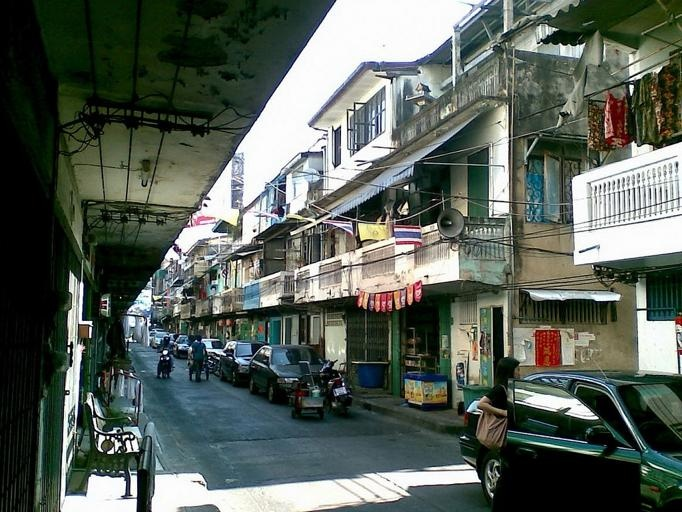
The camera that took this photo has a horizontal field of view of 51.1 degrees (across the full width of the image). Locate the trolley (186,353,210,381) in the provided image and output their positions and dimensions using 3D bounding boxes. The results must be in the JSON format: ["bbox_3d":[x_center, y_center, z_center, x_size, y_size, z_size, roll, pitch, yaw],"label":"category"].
[{"bbox_3d":[-5.439,4.281,27.682,0.704,0.945,1.485,2,-11,-17],"label":"trolley"}]

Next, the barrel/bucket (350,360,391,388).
[{"bbox_3d":[1.059,3.951,23.779,1.109,0.831,0.992,6,-20,-12],"label":"barrel/bucket"}]

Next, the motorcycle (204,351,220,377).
[{"bbox_3d":[-5.485,4.553,30.307,0.696,0.872,1.431,5,-11,-23],"label":"motorcycle"}]

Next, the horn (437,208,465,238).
[{"bbox_3d":[2.644,-0.747,17.317,0.601,0.795,0.761,-3,2,-4],"label":"horn"}]

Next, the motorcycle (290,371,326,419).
[{"bbox_3d":[-0.799,3.421,17.622,0.824,1.039,0.924,2,-4,-4],"label":"motorcycle"}]

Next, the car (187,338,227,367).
[{"bbox_3d":[-6.126,4.517,34.813,1.470,1.434,3.230,4,-14,-22],"label":"car"}]

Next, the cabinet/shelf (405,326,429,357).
[{"bbox_3d":[2.327,2.625,22.106,0.771,1.079,0.635,1,-7,1],"label":"cabinet/shelf"}]

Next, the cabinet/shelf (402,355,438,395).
[{"bbox_3d":[2.293,3.372,20.316,0.389,1.016,1.146,10,-18,-21],"label":"cabinet/shelf"}]

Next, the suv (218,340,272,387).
[{"bbox_3d":[-3.635,3.897,26.637,1.099,1.009,2.476,3,-12,-20],"label":"suv"}]

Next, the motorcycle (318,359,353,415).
[{"bbox_3d":[-0.094,3.417,18.366,0.742,0.948,1.341,-1,-9,-8],"label":"motorcycle"}]
